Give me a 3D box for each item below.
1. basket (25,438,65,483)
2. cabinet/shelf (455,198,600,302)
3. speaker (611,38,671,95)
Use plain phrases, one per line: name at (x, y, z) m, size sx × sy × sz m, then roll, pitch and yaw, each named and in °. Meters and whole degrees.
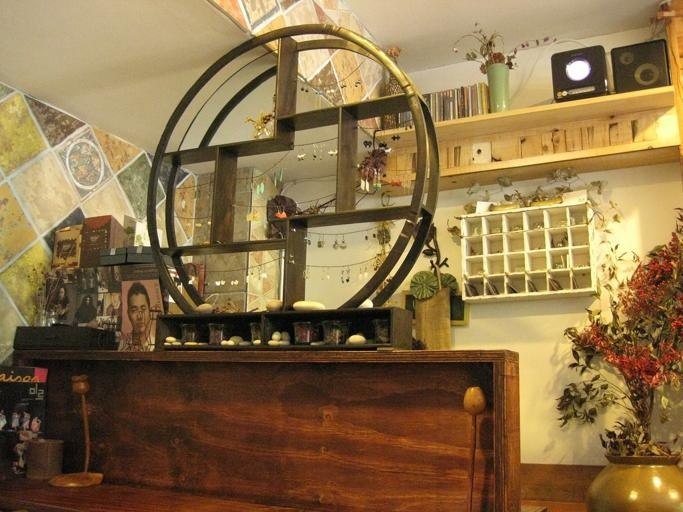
basket at (-1.494, 1.022, 2.859) m, size 0.169 × 0.200 × 0.176 m, roll -1°, pitch -1°, yaw 2°
cabinet/shelf at (1.360, -0.028, 4.219) m, size 0.844 × 0.647 × 0.230 m, roll -5°, pitch -1°, yaw 24°
speaker at (2.120, -1.332, 4.037) m, size 0.376 × 0.389 × 0.204 m, roll -2°, pitch -5°, yaw 17°
